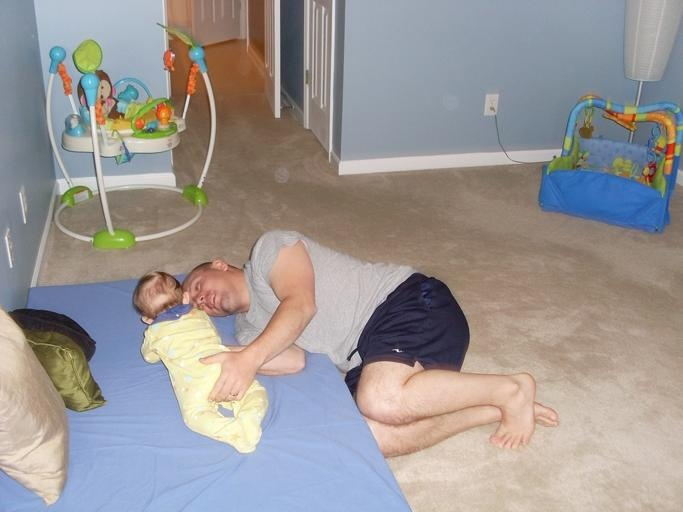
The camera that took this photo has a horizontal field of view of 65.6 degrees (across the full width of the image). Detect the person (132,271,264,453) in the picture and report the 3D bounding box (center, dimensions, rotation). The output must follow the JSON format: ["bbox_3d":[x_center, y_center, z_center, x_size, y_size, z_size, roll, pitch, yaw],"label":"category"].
[{"bbox_3d":[-0.502,0.353,1.827,0.308,0.273,0.768,-21,45,-33],"label":"person"}]

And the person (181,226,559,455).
[{"bbox_3d":[0.071,0.347,2.003,1.220,0.546,0.737,3,33,1],"label":"person"}]

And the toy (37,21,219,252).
[{"bbox_3d":[-1.287,-0.810,3.286,0.960,1.140,0.870,-21,44,-33],"label":"toy"}]

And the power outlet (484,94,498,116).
[{"bbox_3d":[1.180,-1.206,4.177,0.137,0.193,0.045,-4,26,-8],"label":"power outlet"}]

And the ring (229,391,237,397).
[{"bbox_3d":[-0.336,0.428,1.645,0.021,0.018,0.008,0,-2,1],"label":"ring"}]

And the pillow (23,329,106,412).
[{"bbox_3d":[-0.959,0.391,1.830,0.343,0.330,0.099,6,47,49],"label":"pillow"}]
